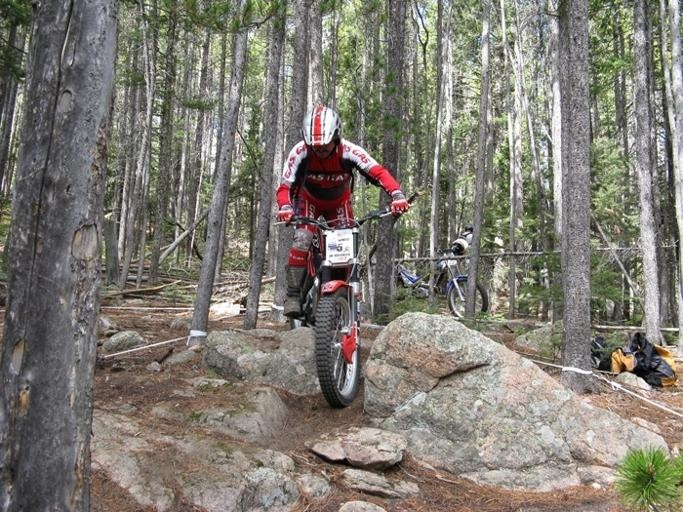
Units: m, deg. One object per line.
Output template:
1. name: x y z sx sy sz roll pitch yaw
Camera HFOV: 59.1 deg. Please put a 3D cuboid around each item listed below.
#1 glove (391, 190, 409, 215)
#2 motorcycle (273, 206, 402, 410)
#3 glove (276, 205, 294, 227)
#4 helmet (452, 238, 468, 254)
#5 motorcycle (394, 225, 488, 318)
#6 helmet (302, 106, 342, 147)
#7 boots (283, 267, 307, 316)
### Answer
1. glove: 0.664 -0.633 6.954 0.140 0.327 0.134 -6 -35 11
2. motorcycle: -0.116 0.590 7.053 0.930 1.610 1.187 5 -3 -6
3. glove: -0.651 -0.488 7.018 0.193 0.188 0.263 6 -4 -16
4. helmet: 2.670 -0.213 13.532 0.352 0.409 0.412 4 -3 10
5. motorcycle: 2.390 0.422 14.197 1.390 1.903 2.342 -3 0 -37
6. helmet: -0.238 -1.496 7.114 0.296 0.401 0.479 -1 -2 3
7. boots: -0.542 0.438 7.276 0.222 0.632 0.336 0 -4 7
